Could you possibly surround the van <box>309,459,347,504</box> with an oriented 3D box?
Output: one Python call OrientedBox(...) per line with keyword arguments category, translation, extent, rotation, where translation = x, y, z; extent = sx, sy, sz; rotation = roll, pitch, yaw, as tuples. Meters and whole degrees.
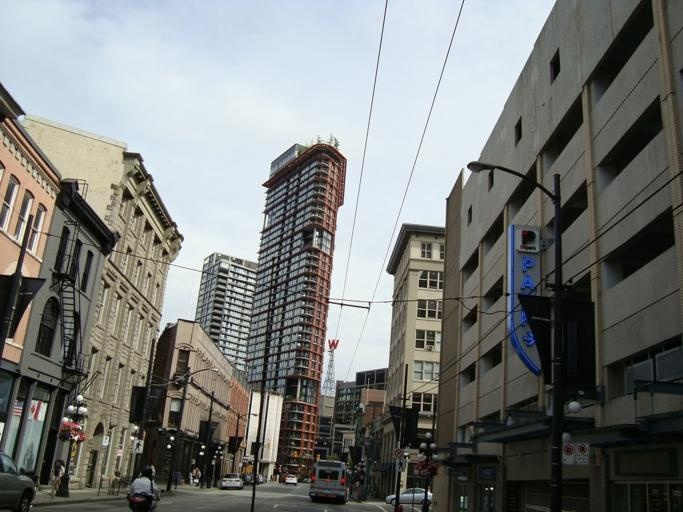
OrientedBox(category="van", translation=(-0.959, 19.927, 54.319), extent=(2.349, 2.372, 4.379), rotation=(0, -16, 4))
